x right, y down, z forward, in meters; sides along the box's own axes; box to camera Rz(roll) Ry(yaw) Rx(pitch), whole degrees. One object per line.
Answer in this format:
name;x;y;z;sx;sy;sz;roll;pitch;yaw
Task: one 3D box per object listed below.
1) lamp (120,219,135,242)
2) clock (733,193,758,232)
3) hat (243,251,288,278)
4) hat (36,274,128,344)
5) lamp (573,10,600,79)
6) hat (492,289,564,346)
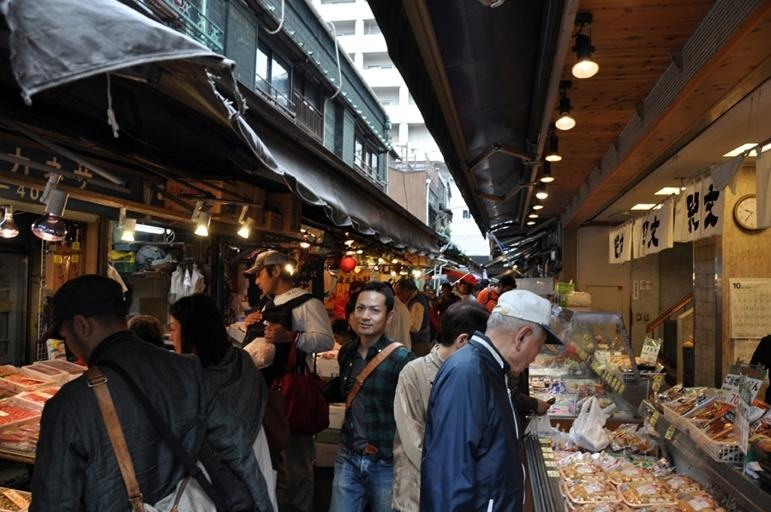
lamp;-2.551;-0.286;5.261;0.095;0.263;0.523;5;-7;-24
clock;5.659;-0.690;8.357;0.295;0.539;0.259;-1;-7;30
hat;-1.304;0.078;5.729;0.391;0.201;0.254;-1;-3;-8
hat;-2.033;0.352;3.530;0.511;0.278;0.382;-10;-6;21
lamp;1.914;-1.970;5.088;0.202;0.516;0.571;0;-6;19
hat;1.061;0.386;3.836;0.521;0.281;0.401;19;-1;9
